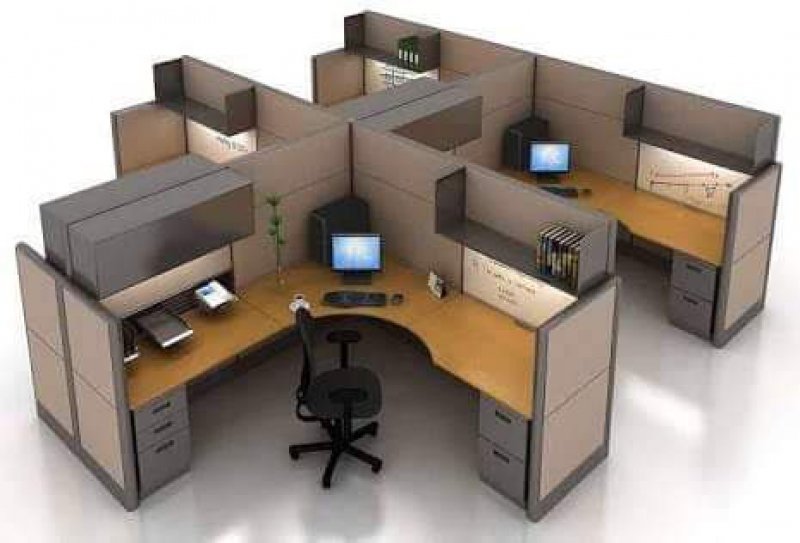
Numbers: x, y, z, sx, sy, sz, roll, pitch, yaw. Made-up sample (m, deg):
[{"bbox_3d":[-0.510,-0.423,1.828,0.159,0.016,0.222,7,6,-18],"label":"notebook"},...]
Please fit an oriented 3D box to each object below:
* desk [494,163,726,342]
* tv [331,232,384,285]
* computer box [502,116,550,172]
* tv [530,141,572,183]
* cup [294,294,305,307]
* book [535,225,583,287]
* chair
[{"bbox_3d":[1.985,-0.153,6.456,0.775,1.694,0.404,-32,-44,-39],"label":"desk"},{"bbox_3d":[-0.401,-0.111,6.447,0.424,0.220,0.382,0,-68,-1],"label":"tv"},{"bbox_3d":[1.406,-1.436,7.965,0.457,0.267,0.536,-21,-58,-33],"label":"computer box"},{"bbox_3d":[1.665,-1.224,7.875,0.421,0.229,0.406,1,-56,5],"label":"tv"},{"bbox_3d":[-0.892,0.253,6.190,0.083,0.081,0.080,-25,-56,-44],"label":"cup"},{"bbox_3d":[1.266,-0.121,5.574,0.245,0.353,0.337,-20,-59,-38],"label":"book"},{"bbox_3d":[-0.553,0.862,5.949,0.784,1.691,1.237,-2,-39,-7],"label":"chair"}]
